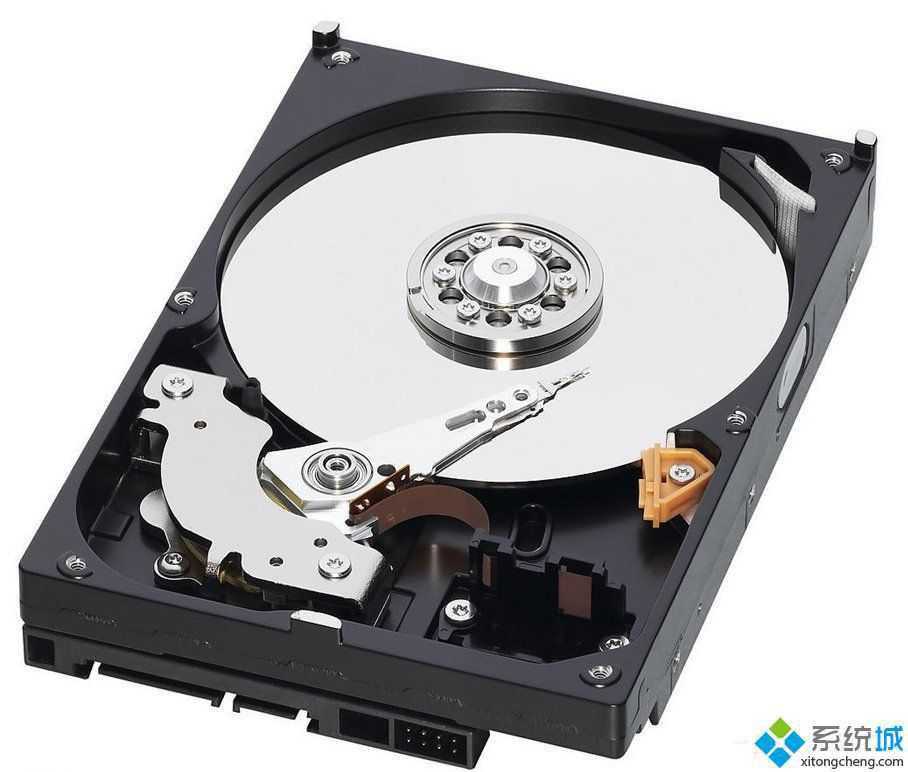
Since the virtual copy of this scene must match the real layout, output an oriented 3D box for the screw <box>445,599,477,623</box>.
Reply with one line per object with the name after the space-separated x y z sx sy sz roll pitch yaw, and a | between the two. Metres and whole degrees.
0.022 0.934 4.296 0.100 0.092 0.022 -1 -49 1 | screw
